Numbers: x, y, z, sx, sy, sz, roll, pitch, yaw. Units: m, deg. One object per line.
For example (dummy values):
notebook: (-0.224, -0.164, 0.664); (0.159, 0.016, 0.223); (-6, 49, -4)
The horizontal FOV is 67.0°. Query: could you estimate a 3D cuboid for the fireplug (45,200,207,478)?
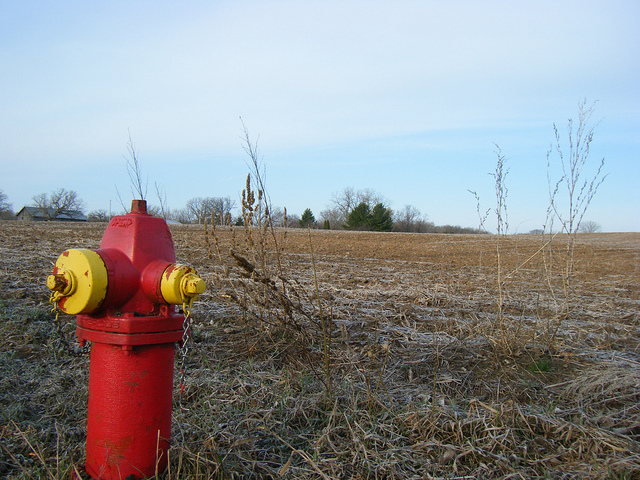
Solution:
fireplug: (-1.262, 0.670, 3.271); (0.932, 1.867, 0.380); (-2, 5, -7)
